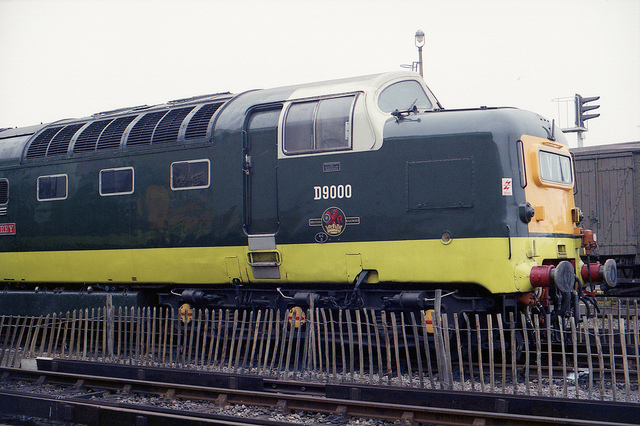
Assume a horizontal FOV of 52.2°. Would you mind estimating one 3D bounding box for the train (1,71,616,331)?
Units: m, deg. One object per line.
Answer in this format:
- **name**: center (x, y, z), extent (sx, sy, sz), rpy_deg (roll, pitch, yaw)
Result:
- **train**: center (-0.997, -0.226, 15.275), extent (13.060, 6.122, 1.895), rpy_deg (1, 1, 13)
